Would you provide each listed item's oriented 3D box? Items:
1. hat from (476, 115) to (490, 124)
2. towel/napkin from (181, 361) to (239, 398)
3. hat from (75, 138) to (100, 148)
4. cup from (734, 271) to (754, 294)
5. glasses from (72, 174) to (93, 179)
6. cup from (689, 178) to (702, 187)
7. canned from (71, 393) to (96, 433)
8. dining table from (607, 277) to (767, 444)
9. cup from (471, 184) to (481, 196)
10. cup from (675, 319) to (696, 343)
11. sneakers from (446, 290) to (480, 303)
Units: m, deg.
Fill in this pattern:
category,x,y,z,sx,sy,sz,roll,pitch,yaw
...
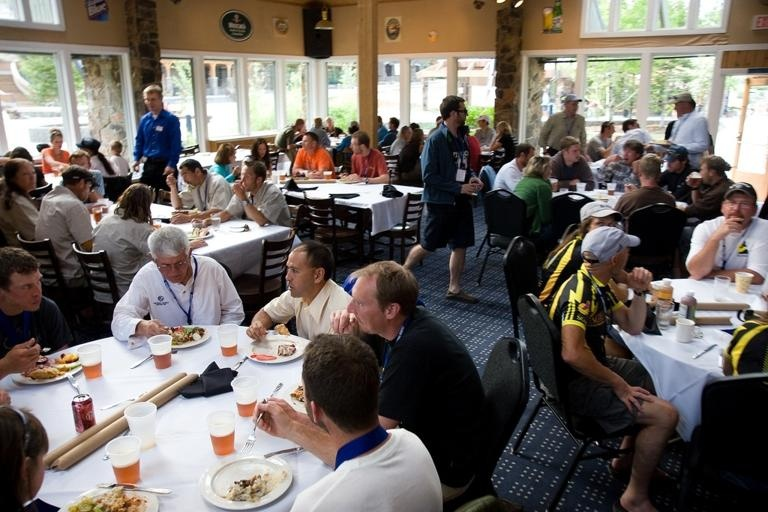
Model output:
category,x,y,z,sx,sy,sz,roll,pitch,yaw
hat,2.114,-2.847,10.896,0.279,0.127,0.187,7,5,5
towel/napkin,-0.842,0.611,2.687,0.192,0.053,0.220,33,17,-7
hat,-4.042,-1.499,6.964,0.380,0.136,0.267,3,10,16
cup,2.392,0.161,3.456,0.140,0.129,0.140,1,13,0
glasses,-2.781,-0.727,4.799,0.036,0.057,0.176,7,16,26
cup,3.436,-0.803,5.706,0.103,0.086,0.095,1,7,0
canned,-1.389,0.721,2.401,0.094,0.141,0.092,3,10,24
dining table,1.705,0.571,3.036,1.002,0.238,0.989,-19,22,1
cup,0.965,-0.685,5.269,0.077,0.091,0.239,4,15,18
cup,1.718,0.425,2.947,0.096,0.095,0.140,-5,5,9
sneakers,0.846,0.425,5.546,0.352,0.126,0.125,3,6,19
